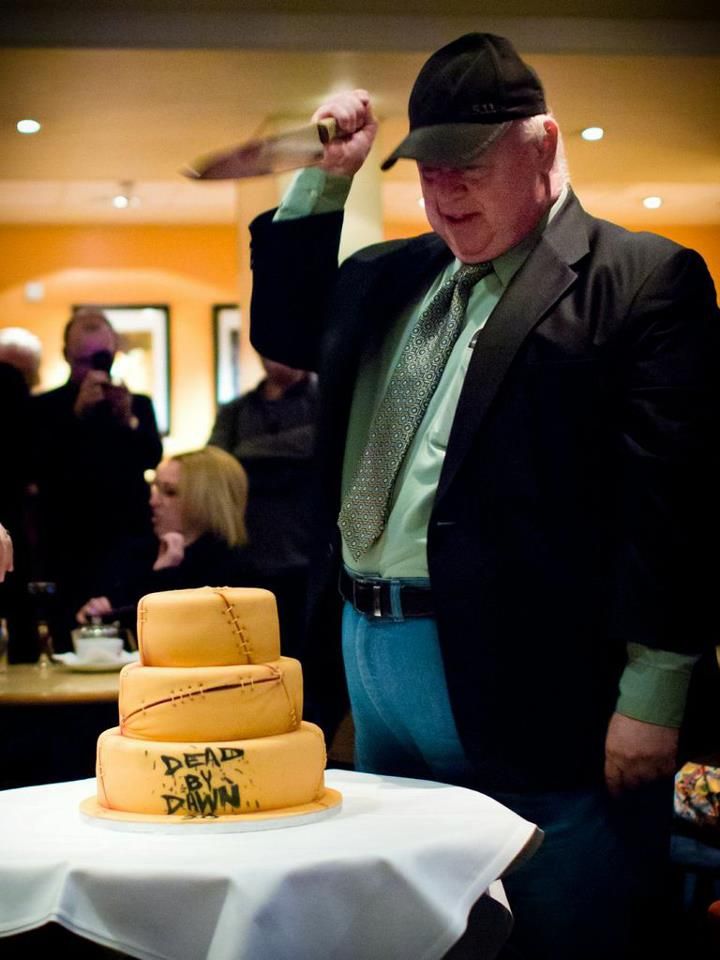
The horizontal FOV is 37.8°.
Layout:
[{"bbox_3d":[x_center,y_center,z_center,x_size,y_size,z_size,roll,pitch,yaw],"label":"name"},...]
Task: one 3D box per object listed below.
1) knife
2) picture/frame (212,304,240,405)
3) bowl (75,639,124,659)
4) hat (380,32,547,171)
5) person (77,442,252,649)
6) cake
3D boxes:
[{"bbox_3d":[-0.143,-0.501,1.590,0.387,0.078,0.040,-24,-6,-46],"label":"knife"},{"bbox_3d":[-0.944,-0.866,7.725,0.241,0.973,0.050,-5,50,-11],"label":"picture/frame"},{"bbox_3d":[-0.787,0.512,3.157,0.084,0.050,0.080,2,-10,0],"label":"bowl"},{"bbox_3d":[0.162,-0.586,1.595,0.202,0.182,0.317,19,35,41],"label":"hat"},{"bbox_3d":[-0.526,0.176,3.430,0.662,0.753,0.494,4,-1,-10],"label":"person"},{"bbox_3d":[-0.210,0.303,1.494,0.341,0.293,0.335,1,-4,3],"label":"cake"}]
